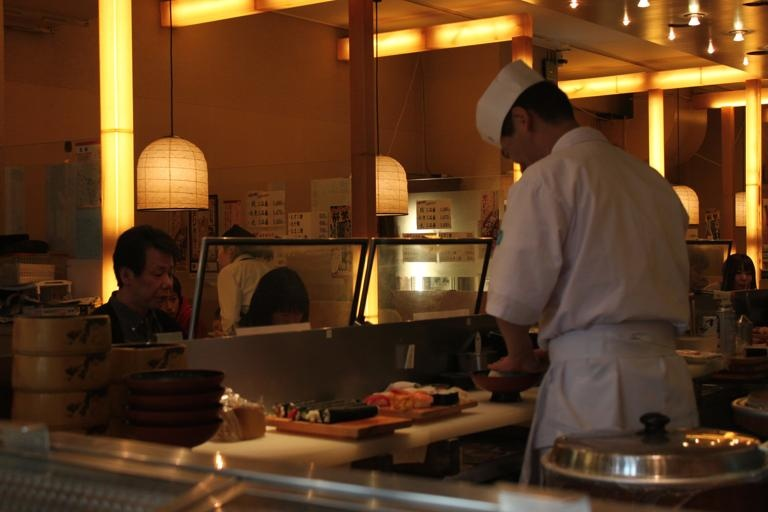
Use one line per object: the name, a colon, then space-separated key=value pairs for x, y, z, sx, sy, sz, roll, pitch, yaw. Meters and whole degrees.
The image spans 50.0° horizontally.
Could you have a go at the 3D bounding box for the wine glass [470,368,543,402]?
wine glass: x=0.569 y=0.595 z=3.822 sx=0.271 sy=0.108 sz=0.276 roll=0 pitch=-4 yaw=6

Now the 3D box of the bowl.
bowl: x=-0.568 y=0.416 z=2.234 sx=0.247 sy=0.188 sz=0.103 roll=-1 pitch=-1 yaw=-17

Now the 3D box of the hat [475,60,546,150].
hat: x=0.449 y=-0.588 z=3.165 sx=0.212 sy=0.327 sz=0.270 roll=32 pitch=7 yaw=3

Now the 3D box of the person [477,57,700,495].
person: x=0.665 y=0.088 z=3.059 sx=0.775 sy=1.415 sz=0.712 roll=13 pitch=-16 yaw=-43

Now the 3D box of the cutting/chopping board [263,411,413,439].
cutting/chopping board: x=-0.158 y=0.668 z=3.280 sx=0.790 sy=0.051 sz=0.355 roll=4 pitch=-3 yaw=-35
